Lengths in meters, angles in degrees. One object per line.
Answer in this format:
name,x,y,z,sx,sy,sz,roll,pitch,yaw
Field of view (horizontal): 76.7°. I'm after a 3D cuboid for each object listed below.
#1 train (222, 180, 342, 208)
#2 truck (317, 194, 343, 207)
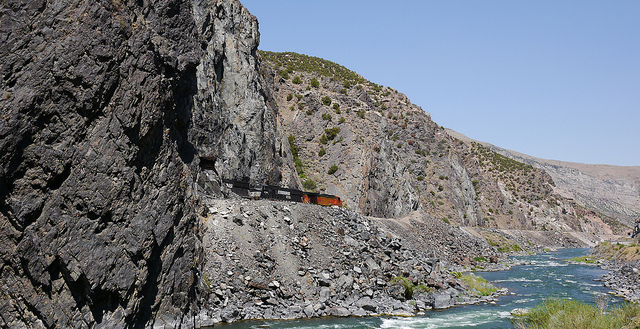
train,-5.330,4.213,57.348,17.476,2.561,1.871,7,19,5
truck,1.336,5.444,60.760,3.085,1.186,1.800,4,-16,-10
